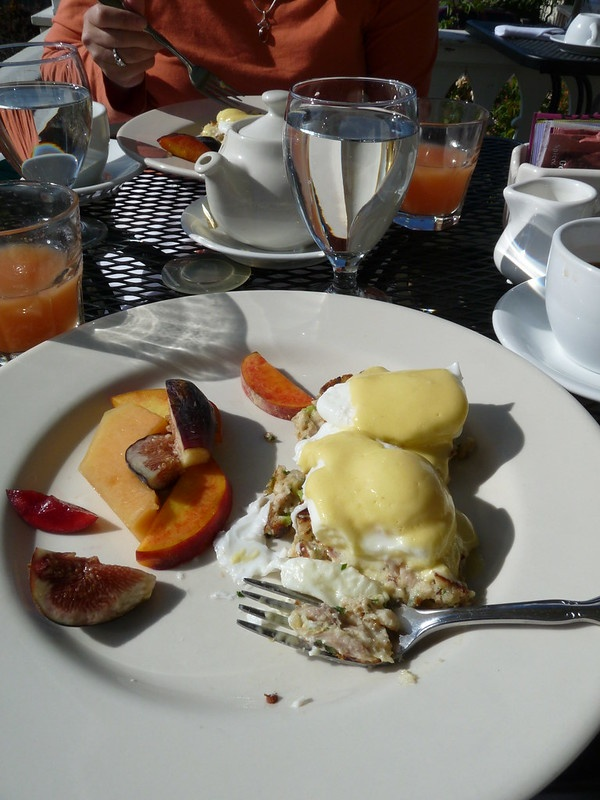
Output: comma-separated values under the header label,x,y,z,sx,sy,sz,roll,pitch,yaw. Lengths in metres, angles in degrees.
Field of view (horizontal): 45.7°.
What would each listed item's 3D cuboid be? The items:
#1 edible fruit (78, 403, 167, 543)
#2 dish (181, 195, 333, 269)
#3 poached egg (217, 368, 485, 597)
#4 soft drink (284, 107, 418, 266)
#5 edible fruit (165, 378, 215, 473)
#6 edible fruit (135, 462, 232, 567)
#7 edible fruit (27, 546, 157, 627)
label,x,y,z,sx,sy,sz,roll,pitch,yaw
edible fruit,-0.284,0.106,1.141,0.123,0.034,0.208,-21,48,-31
dish,-0.127,-0.352,1.580,0.224,0.047,0.195,-2,39,-17
poached egg,0.101,0.116,1.008,0.334,0.098,0.307,5,68,23
soft drink,0.094,-0.420,1.370,0.286,0.362,0.251,0,37,-2
edible fruit,-0.176,0.023,1.186,0.087,0.048,0.176,-14,49,-8
edible fruit,-0.175,0.178,1.064,0.113,0.041,0.203,16,30,10
edible fruit,-0.275,0.241,0.943,0.192,0.033,0.097,7,43,9
